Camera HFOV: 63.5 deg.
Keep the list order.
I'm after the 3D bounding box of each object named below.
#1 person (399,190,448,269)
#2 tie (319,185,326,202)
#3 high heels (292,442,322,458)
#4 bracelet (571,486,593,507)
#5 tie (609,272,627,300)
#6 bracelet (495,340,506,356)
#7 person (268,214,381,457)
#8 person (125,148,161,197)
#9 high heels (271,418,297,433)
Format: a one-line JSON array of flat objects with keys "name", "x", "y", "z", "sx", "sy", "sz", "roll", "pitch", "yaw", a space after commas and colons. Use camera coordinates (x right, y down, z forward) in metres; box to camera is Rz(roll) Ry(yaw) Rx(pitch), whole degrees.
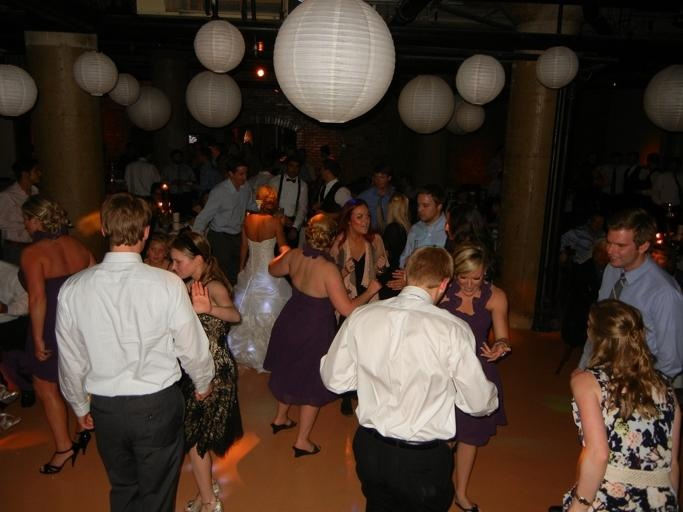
[{"name": "person", "x": 0.723, "y": -0.234, "z": 4.854, "sx": 0.394, "sy": 0.782, "sz": 0.469, "roll": -14, "pitch": 24, "yaw": -28}, {"name": "tie", "x": -0.262, "y": -0.862, "z": 7.605, "sx": 0.055, "sy": 0.186, "sz": 0.126, "roll": 11, "pitch": -10, "yaw": -23}, {"name": "high heels", "x": -0.277, "y": 1.592, "z": 4.540, "sx": 0.170, "sy": 0.076, "sz": 0.104, "roll": -10, "pitch": 10, "yaw": -12}, {"name": "bracelet", "x": 1.331, "y": 1.317, "z": 3.047, "sx": 0.097, "sy": 0.106, "sz": 0.072, "roll": 4, "pitch": 7, "yaw": 36}, {"name": "tie", "x": 2.019, "y": 0.217, "z": 4.019, "sx": 0.026, "sy": 0.305, "sz": 0.079, "roll": 25, "pitch": -23, "yaw": 4}, {"name": "bracelet", "x": 1.090, "y": 0.623, "z": 3.780, "sx": 0.038, "sy": 0.097, "sz": 0.108, "roll": 25, "pitch": -15, "yaw": -23}, {"name": "person", "x": -0.121, "y": 0.666, "z": 4.308, "sx": 0.868, "sy": 2.088, "sz": 0.742, "roll": 29, "pitch": 40, "yaw": 28}, {"name": "person", "x": -3.156, "y": -1.317, "z": 8.660, "sx": 0.545, "sy": 0.792, "sz": 0.617, "roll": 0, "pitch": 5, "yaw": 4}, {"name": "high heels", "x": -0.506, "y": 1.486, "z": 4.873, "sx": 0.228, "sy": 0.105, "sz": 0.085, "roll": -14, "pitch": 23, "yaw": -22}]
